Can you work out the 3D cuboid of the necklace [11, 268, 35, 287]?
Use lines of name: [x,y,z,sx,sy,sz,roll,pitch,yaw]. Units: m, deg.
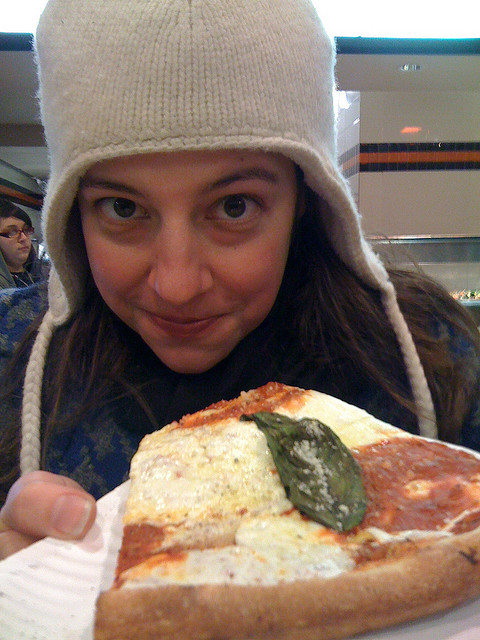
necklace: [-0.843,-0.162,2.229,0.069,0.072,0.037,-40,17,9]
